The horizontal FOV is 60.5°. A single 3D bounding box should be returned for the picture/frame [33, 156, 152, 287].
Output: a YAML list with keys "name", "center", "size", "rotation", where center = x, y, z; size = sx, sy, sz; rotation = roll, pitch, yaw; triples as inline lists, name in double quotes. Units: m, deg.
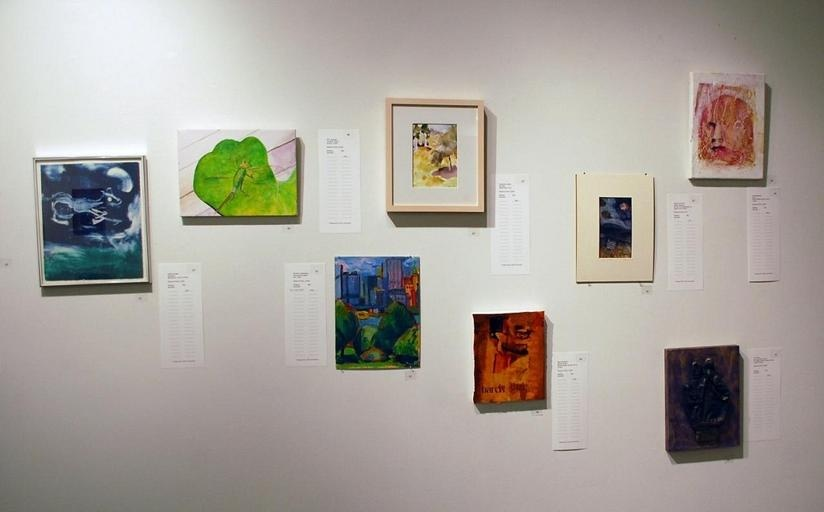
- name: "picture/frame"
  center: [-1.580, -0.185, 3.455]
  size: [0.608, 0.743, 0.047]
  rotation: [0, 2, -5]

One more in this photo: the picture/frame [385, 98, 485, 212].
- name: "picture/frame"
  center: [0.098, -0.509, 3.480]
  size: [0.530, 0.643, 0.043]
  rotation: [1, 0, -4]
